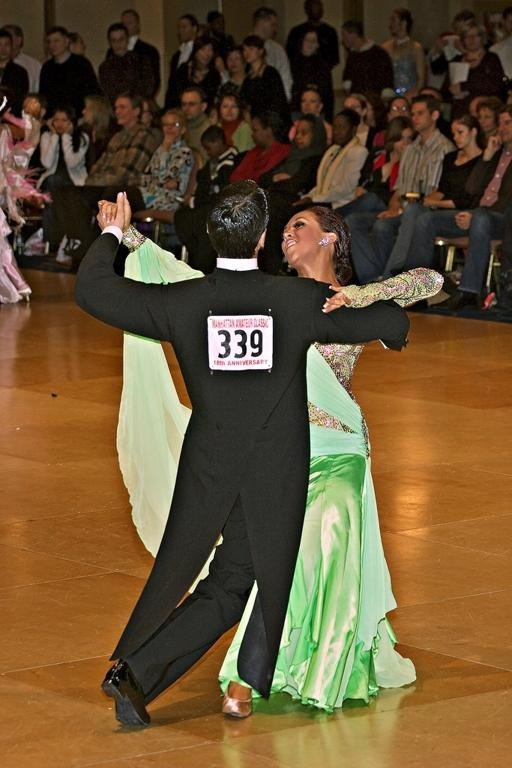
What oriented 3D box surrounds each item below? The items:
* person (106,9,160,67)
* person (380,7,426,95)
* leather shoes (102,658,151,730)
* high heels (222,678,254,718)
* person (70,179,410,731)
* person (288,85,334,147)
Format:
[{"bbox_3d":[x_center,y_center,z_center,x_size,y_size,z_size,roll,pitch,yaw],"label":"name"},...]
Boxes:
[{"bbox_3d":[-2.805,-7.687,15.640,0.854,1.696,0.510,-1,-6,-15],"label":"person"},{"bbox_3d":[2.933,-6.422,13.157,0.751,1.468,0.731,-1,-6,7],"label":"person"},{"bbox_3d":[-0.288,0.712,1.541,0.086,0.195,0.087,-8,40,23],"label":"leather shoes"},{"bbox_3d":[-0.036,0.774,1.654,0.048,0.045,0.125,1,-5,-3],"label":"high heels"},{"bbox_3d":[-0.027,0.153,1.544,0.714,1.261,0.367,-2,-7,10],"label":"person"},{"bbox_3d":[0.980,-4.648,11.779,1.162,1.051,0.617,22,36,33],"label":"person"}]
